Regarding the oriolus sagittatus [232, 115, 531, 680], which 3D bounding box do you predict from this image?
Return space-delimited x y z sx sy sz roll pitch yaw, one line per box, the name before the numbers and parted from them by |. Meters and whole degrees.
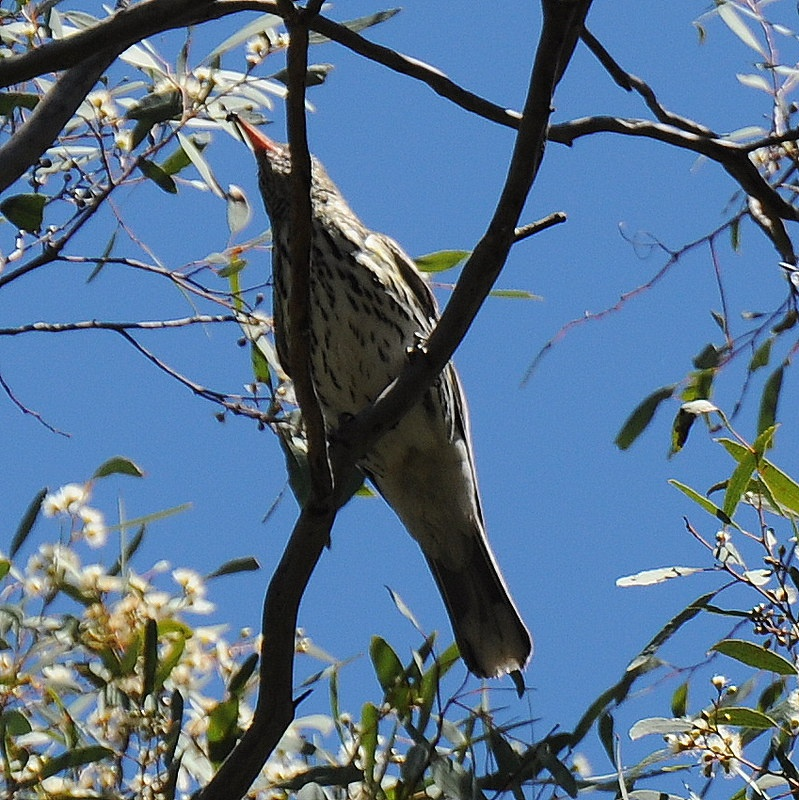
oriolus sagittatus | -0.051 0.022 3.685 0.301 1.164 0.449 -26 -12 8
